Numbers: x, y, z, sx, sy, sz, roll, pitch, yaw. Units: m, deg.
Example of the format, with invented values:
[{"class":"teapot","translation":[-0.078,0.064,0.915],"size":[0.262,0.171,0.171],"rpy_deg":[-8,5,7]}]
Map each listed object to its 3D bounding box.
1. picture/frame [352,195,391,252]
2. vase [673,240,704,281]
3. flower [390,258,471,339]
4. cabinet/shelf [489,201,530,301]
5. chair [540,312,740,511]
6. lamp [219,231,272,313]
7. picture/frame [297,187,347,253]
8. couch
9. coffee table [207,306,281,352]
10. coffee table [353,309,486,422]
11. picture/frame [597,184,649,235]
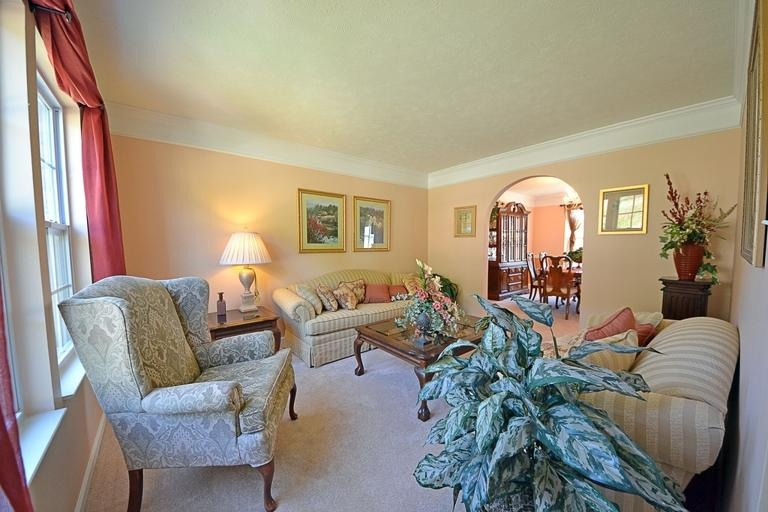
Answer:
[{"class":"picture/frame","translation":[-0.204,-0.471,6.669],"size":[0.814,0.892,0.060],"rpy_deg":[-2,2,-43]},{"class":"vase","translation":[2.932,0.051,4.538],"size":[0.328,0.380,0.334],"rpy_deg":[1,-2,19]},{"class":"flower","translation":[0.469,0.434,4.678],"size":[0.518,0.606,0.453],"rpy_deg":[-21,3,20]},{"class":"cabinet/shelf","translation":[2.193,-0.125,8.413],"size":[0.430,1.686,1.220],"rpy_deg":[2,4,31]},{"class":"chair","translation":[1.788,0.936,3.368],"size":[1.065,0.749,1.530],"rpy_deg":[3,13,34]},{"class":"lamp","translation":[-1.537,0.150,5.283],"size":[0.555,0.941,0.523],"rpy_deg":[-2,7,-16]},{"class":"picture/frame","translation":[-0.833,-0.473,6.093],"size":[0.860,0.999,0.048],"rpy_deg":[-2,1,-41]},{"class":"couch","translation":[-0.324,0.639,5.889],"size":[1.990,0.859,0.773],"rpy_deg":[-6,14,-39]},{"class":"coffee table","translation":[-1.565,0.860,5.116],"size":[0.783,0.403,0.614],"rpy_deg":[-7,8,-28]},{"class":"coffee table","translation":[0.433,1.048,4.954],"size":[1.237,0.528,1.325],"rpy_deg":[12,14,34]},{"class":"picture/frame","translation":[2.712,-0.530,5.306],"size":[0.050,0.683,0.575],"rpy_deg":[-1,2,-42]}]
